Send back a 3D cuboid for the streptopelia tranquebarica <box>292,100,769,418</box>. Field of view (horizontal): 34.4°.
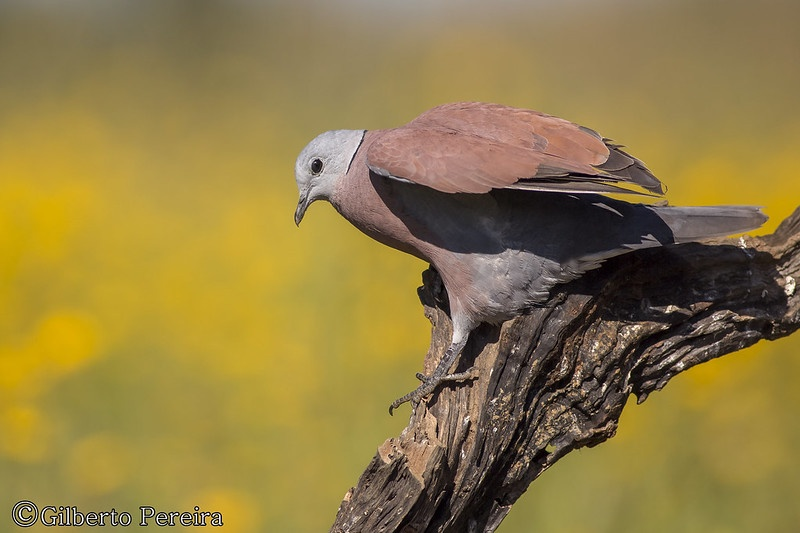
[{"bbox_3d":[0.456,-0.149,6.782,2.240,1.445,0.749,13,-15,18],"label":"streptopelia tranquebarica"}]
